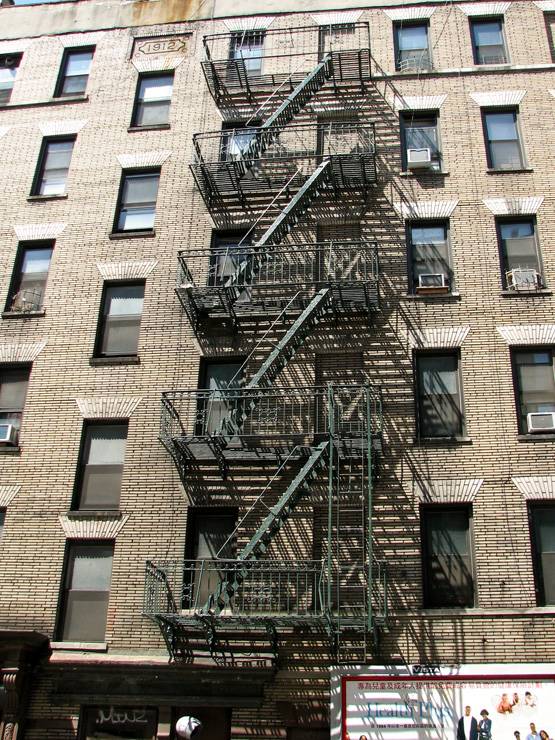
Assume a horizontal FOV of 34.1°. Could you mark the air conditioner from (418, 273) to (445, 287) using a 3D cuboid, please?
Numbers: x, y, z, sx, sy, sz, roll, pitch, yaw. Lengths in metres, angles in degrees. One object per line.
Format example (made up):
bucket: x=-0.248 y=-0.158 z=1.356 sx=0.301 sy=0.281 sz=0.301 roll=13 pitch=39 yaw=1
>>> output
air conditioner: x=3.255 y=-1.898 z=19.079 sx=0.629 sy=0.395 sz=0.308 roll=0 pitch=-28 yaw=4
